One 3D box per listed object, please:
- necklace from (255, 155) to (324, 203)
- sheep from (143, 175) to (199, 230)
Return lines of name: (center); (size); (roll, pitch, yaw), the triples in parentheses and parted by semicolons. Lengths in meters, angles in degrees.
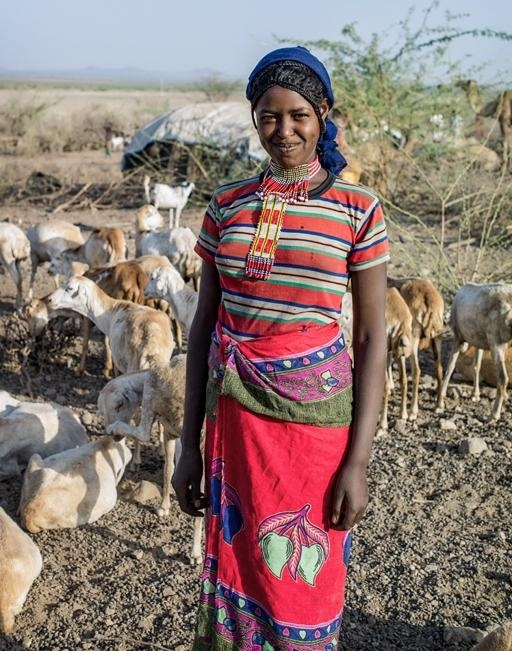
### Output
necklace: (0.133, -0.481, 2.184); (0.206, 0.087, 0.236); (6, 32, 34)
sheep: (-1.836, -2.875, 15.833); (1.045, 0.734, 0.395); (-7, -6, 31)
